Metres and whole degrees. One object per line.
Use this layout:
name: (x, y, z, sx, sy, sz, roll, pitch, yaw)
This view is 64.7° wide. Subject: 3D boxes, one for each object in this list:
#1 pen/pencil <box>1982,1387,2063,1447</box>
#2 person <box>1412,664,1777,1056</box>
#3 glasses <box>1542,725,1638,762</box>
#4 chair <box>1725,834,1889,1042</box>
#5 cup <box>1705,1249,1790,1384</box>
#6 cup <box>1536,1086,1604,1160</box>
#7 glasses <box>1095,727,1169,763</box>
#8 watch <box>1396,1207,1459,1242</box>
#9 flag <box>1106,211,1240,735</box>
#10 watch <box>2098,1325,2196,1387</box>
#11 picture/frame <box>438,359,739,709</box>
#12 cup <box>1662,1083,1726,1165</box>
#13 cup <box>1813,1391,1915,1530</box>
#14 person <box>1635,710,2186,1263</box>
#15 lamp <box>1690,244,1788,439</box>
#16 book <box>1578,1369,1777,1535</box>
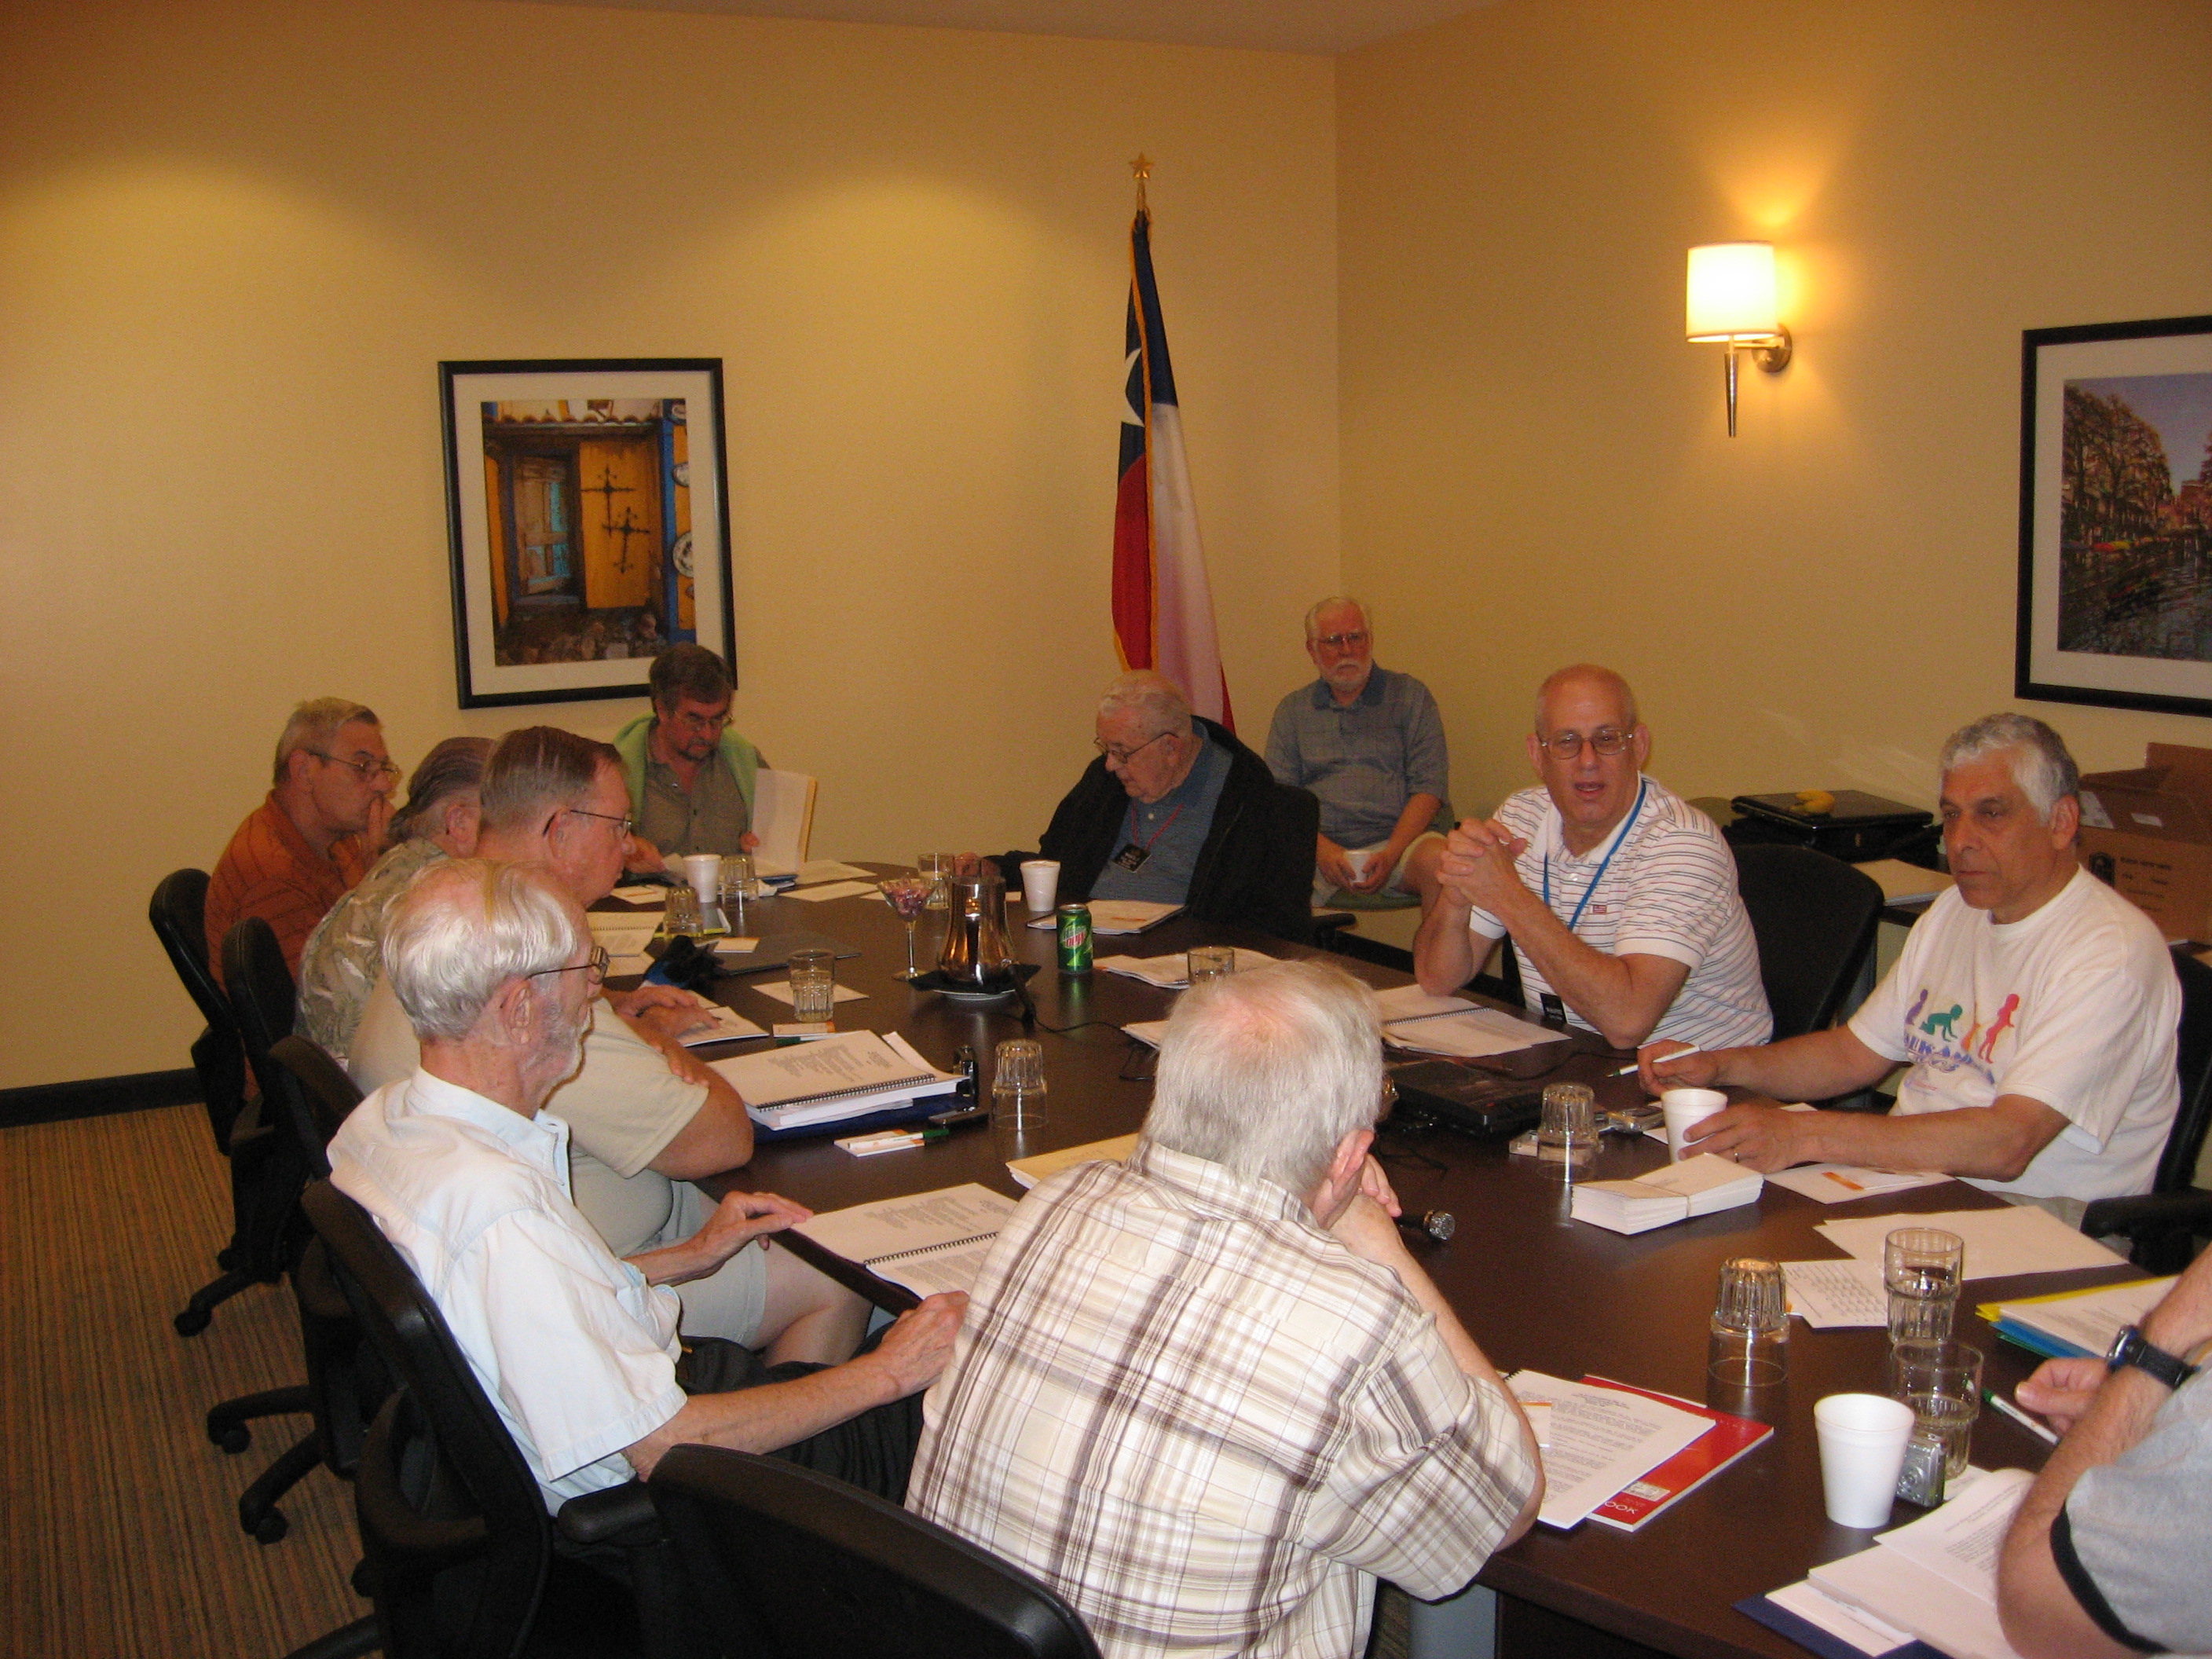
pen/pencil: (1.082, 0.689, 2.059, 0.017, 0.019, 0.127, 9, 15, -31)
person: (0.928, 0.009, 3.826, 0.759, 1.140, 0.666, -5, 7, -23)
glasses: (0.977, -0.181, 3.495, 0.189, 0.064, 0.066, 0, 12, 0)
chair: (1.422, 0.204, 3.539, 0.348, 0.432, 0.331, -7, 3, -37)
cup: (0.814, 0.604, 2.217, 0.110, 0.161, 0.112, 1, 5, 0)
cup: (0.728, 0.465, 2.801, 0.098, 0.115, 0.100, 1, 1, 0)
glasses: (0.080, -0.238, 4.685, 0.132, 0.107, 0.107, -13, 2, -21)
watch: (0.465, 0.565, 2.504, 0.034, 0.037, 0.094, 12, -4, -19)
flag: (0.225, -1.279, 6.260, 0.454, 1.792, 0.257, 4, 13, 19)
watch: (1.115, 0.550, 1.861, 0.059, 0.043, 0.066, 22, -2, 15)
picture/frame: (-1.785, -1.004, 5.843, 1.109, 1.365, 0.053, -6, 17, -22)
cup: (0.916, 0.455, 2.747, 0.086, 0.088, 0.098, 0, 0, -6)
cup: (0.810, 0.669, 1.892, 0.114, 0.128, 0.120, 0, 1, 0)
person: (1.358, 0.224, 3.227, 0.916, 1.020, 0.773, 0, 5, -11)
lamp: (1.923, -1.476, 5.304, 0.320, 0.531, 0.289, 0, 10, 5)
book: (0.622, 0.708, 1.977, 0.213, 0.033, 0.270, 7, 14, 30)
